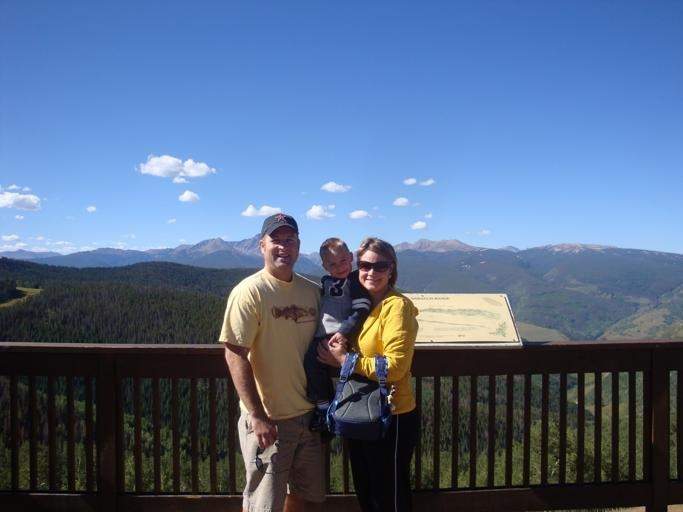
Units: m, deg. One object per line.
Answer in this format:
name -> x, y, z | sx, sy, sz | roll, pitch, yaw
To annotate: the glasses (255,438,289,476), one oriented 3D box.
glasses -> -0.571, 1.605, 4.465 | 0.249, 0.124, 0.232 | -16, -12, -27
